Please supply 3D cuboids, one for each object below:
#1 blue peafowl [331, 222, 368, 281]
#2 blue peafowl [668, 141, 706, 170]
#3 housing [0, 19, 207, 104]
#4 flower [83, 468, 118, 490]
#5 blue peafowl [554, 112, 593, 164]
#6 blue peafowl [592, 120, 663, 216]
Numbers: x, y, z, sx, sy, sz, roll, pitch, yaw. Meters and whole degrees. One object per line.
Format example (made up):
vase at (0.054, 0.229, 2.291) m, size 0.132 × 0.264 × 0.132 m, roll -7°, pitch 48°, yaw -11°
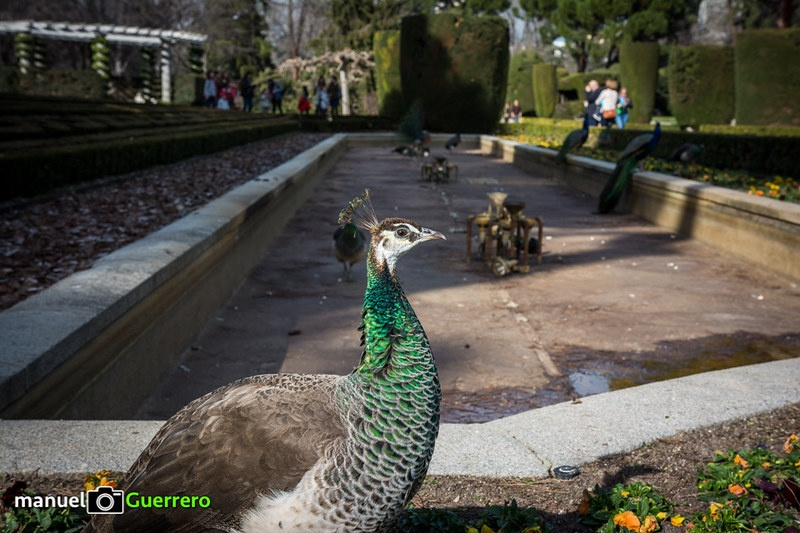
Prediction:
blue peafowl at (-0.734, -0.341, 8.899) m, size 0.462 × 1.025 × 1.442 m, roll 2°, pitch 22°, yaw -8°
blue peafowl at (6.501, -2.509, 13.742) m, size 0.898 × 0.524 × 0.351 m, roll 0°, pitch 45°, yaw -13°
housing at (-17.151, -13.691, 39.290) m, size 13.033 × 4.581 × 6.443 m, roll 2°, pitch 34°, yaw -5°
flower at (-1.972, 1.411, 4.118) m, size 0.169 × 0.099 × 0.225 m, roll 0°, pitch 5°, yaw 8°
blue peafowl at (4.813, -3.689, 17.660) m, size 0.856 × 0.986 × 3.340 m, roll 17°, pitch 20°, yaw 10°
blue peafowl at (4.549, -1.786, 12.213) m, size 0.901 × 1.718 × 1.213 m, roll -1°, pitch 20°, yaw -11°
